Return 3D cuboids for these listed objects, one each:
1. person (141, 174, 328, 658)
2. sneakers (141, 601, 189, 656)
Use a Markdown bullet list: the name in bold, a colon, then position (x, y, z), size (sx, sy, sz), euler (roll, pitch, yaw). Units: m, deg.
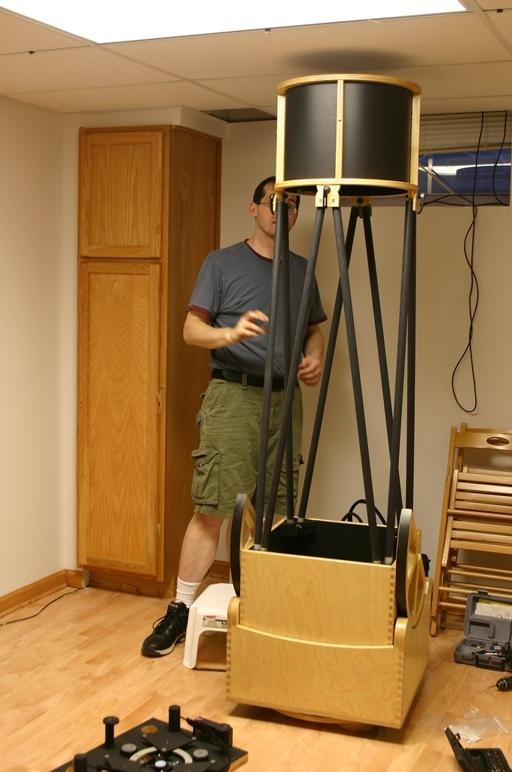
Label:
- **person**: position (-0.056, 0.069, 2.774), size (0.721, 1.893, 0.839), euler (0, 1, 42)
- **sneakers**: position (-0.343, 0.949, 2.676), size (0.082, 0.107, 0.242), euler (7, 1, 17)
